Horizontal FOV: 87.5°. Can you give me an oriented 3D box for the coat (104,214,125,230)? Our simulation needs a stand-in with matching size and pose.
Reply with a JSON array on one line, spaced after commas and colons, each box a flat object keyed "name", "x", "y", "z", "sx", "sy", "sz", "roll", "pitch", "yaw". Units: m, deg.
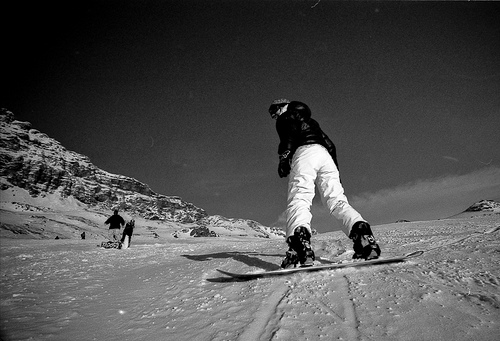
[{"name": "coat", "x": -7.395, "y": 2.846, "z": 14.391, "sx": 0.777, "sy": 0.792, "sz": 0.648, "roll": 12, "pitch": -25, "yaw": -28}]

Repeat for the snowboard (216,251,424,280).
[{"name": "snowboard", "x": 0.971, "y": 1.370, "z": 3.699, "sx": 2.792, "sy": 0.357, "sz": 0.616, "roll": -5, "pitch": -23, "yaw": 11}]

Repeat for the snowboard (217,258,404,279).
[{"name": "snowboard", "x": 0.870, "y": 1.392, "z": 3.642, "sx": 3.172, "sy": 0.247, "sz": 0.364, "roll": -6, "pitch": -7, "yaw": 12}]

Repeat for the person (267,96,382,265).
[{"name": "person", "x": 1.067, "y": -0.028, "z": 4.612, "sx": 1.284, "sy": 3.228, "sz": 0.770, "roll": -1, "pitch": -34, "yaw": 1}]

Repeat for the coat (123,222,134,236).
[{"name": "coat", "x": -6.111, "y": 2.994, "z": 13.248, "sx": 0.237, "sy": 0.740, "sz": 0.431, "roll": -4, "pitch": -23, "yaw": 10}]
